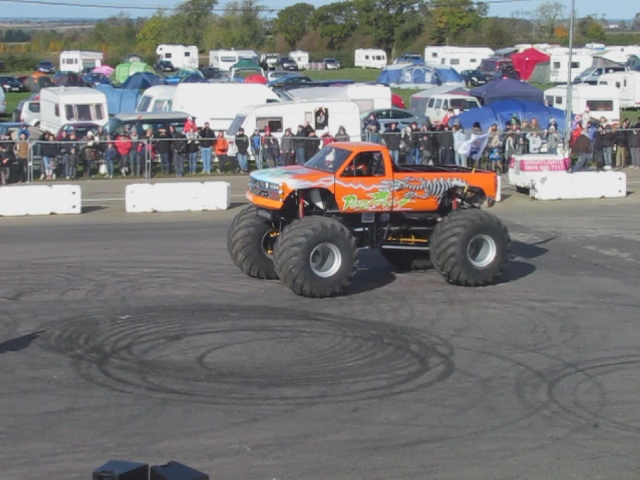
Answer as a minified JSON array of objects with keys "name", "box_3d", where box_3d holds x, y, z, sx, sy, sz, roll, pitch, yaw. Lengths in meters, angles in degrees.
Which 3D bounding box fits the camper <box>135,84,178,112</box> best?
[{"name":"camper","box_3d":[-5.901,-5.448,38.815,1.108,1.067,2.193,-4,9,-25]}]

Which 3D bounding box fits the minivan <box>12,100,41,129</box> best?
[{"name":"minivan","box_3d":[-12.177,-5.176,42.833,1.294,1.171,2.041,-2,18,-13]}]

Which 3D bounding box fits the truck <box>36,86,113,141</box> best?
[{"name":"truck","box_3d":[-9.318,-4.803,39.878,2.222,2.187,3.781,-6,16,-22]}]

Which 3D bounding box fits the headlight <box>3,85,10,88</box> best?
[{"name":"headlight","box_3d":[-18.431,-9.067,60.670,0.145,0.146,0.504,0,8,8]}]

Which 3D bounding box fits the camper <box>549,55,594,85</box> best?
[{"name":"camper","box_3d":[17.443,-11.639,69.265,3.501,2.181,2.315,4,22,31]}]

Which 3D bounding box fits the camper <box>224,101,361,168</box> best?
[{"name":"camper","box_3d":[-0.859,-3.264,31.790,3.943,1.948,3.055,4,21,37]}]

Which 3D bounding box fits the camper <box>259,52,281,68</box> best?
[{"name":"camper","box_3d":[-3.948,-15.538,88.490,1.526,1.326,2.691,-1,3,-12]}]

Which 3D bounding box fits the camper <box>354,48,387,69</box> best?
[{"name":"camper","box_3d":[4.816,-16.101,92.367,2.181,1.930,3.780,-6,9,-31]}]

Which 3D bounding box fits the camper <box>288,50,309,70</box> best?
[{"name":"camper","box_3d":[-1.742,-15.882,90.772,1.324,1.350,2.168,0,4,-3]}]

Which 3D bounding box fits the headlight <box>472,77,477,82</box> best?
[{"name":"headlight","box_3d":[10.004,-10.316,66.234,0.067,0.289,0.468,-5,8,-26]}]

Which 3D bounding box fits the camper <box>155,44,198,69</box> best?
[{"name":"camper","box_3d":[-11.681,-15.249,85.495,3.087,2.117,2.707,-1,8,-2]}]

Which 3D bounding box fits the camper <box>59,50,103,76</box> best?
[{"name":"camper","box_3d":[-18.293,-13.758,79.084,3.045,1.431,1.566,-4,8,-18]}]

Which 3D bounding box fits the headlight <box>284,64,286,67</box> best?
[{"name":"headlight","box_3d":[-2.887,-14.651,86.530,0.176,0.209,0.089,-7,9,-37]}]

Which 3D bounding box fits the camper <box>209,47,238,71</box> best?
[{"name":"camper","box_3d":[-7.135,-13.708,78.105,1.567,2.175,4.390,-1,8,-13]}]
